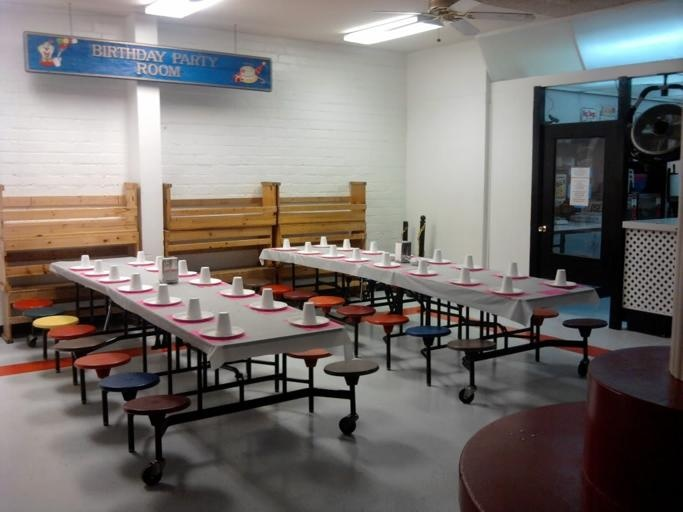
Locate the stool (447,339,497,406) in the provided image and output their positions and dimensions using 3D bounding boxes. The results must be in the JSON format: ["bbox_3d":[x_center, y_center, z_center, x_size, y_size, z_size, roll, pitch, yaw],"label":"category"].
[{"bbox_3d":[1.146,0.989,4.542,0.405,0.448,0.526,1,10,5],"label":"stool"}]

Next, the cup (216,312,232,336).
[{"bbox_3d":[-0.742,0.416,3.220,0.094,0.136,0.169,-3,10,-12],"label":"cup"}]

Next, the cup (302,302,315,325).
[{"bbox_3d":[-0.225,0.381,3.475,0.091,0.138,0.120,-1,11,-4],"label":"cup"}]

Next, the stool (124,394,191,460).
[{"bbox_3d":[-1.185,1.059,3.312,0.411,0.200,0.368,-8,-5,31],"label":"stool"}]

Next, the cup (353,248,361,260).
[{"bbox_3d":[0.158,-0.016,6.180,0.161,0.117,0.128,-1,1,-1],"label":"cup"}]

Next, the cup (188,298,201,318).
[{"bbox_3d":[-1.031,0.360,3.597,0.090,0.137,0.153,-3,11,-15],"label":"cup"}]

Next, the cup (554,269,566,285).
[{"bbox_3d":[1.984,0.193,4.660,0.097,0.132,0.119,4,12,20],"label":"cup"}]

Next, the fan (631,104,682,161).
[{"bbox_3d":[3.769,-1.487,6.080,0.372,0.629,0.599,-3,11,-14],"label":"fan"}]

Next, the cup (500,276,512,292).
[{"bbox_3d":[1.409,0.235,4.391,0.094,0.130,0.115,3,11,15],"label":"cup"}]

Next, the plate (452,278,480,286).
[{"bbox_3d":[1.139,0.241,4.730,0.265,0.032,0.209,1,8,10],"label":"plate"}]

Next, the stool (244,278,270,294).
[{"bbox_3d":[-1.163,0.411,7.078,0.287,0.092,0.249,-2,7,-26],"label":"stool"}]

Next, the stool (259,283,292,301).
[{"bbox_3d":[-0.855,0.463,6.939,0.551,0.130,0.471,-1,4,-23],"label":"stool"}]

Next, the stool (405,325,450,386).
[{"bbox_3d":[0.845,0.928,4.944,0.399,0.461,0.532,-3,11,-12],"label":"stool"}]
